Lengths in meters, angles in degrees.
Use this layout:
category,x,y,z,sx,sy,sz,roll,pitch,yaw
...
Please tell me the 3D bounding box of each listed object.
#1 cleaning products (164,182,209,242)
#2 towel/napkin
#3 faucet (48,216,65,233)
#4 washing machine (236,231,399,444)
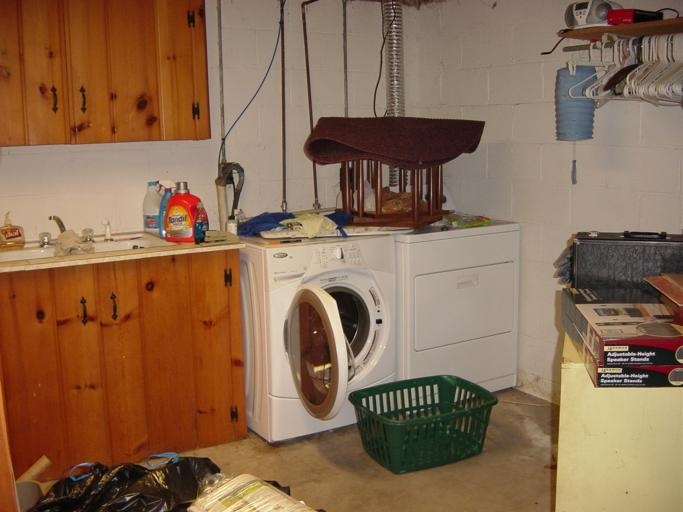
category,x,y,z,sx,sy,sz,roll,pitch,yaw
cleaning products,-0.800,-0.221,2.917,0.217,0.303,0.166,-3,13,-10
towel/napkin,-0.296,-0.232,3.287,0.620,0.159,0.489,-6,15,-33
faucet,-1.507,-0.176,3.060,0.075,0.105,0.195,-8,15,-27
washing machine,-0.137,0.461,3.353,0.798,1.123,0.837,-5,8,-29
